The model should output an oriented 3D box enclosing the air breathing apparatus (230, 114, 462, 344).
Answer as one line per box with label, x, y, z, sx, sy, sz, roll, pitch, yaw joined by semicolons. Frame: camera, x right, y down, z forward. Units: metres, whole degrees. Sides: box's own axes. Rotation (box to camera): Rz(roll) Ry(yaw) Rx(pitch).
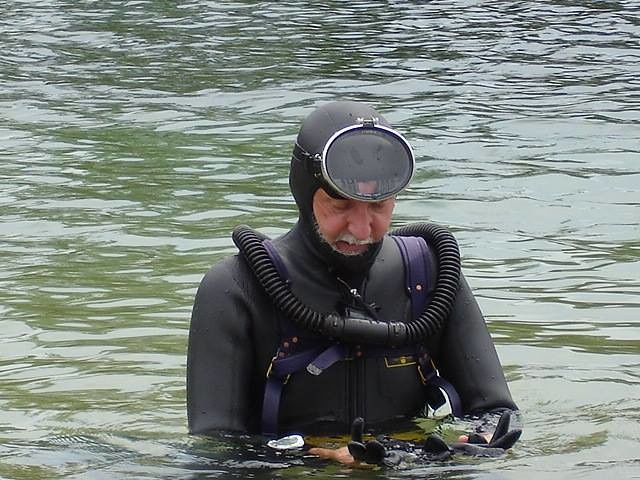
air breathing apparatus;0.173;-0.028;4.601;1.416;0.995;0.256;-6;21;-2
